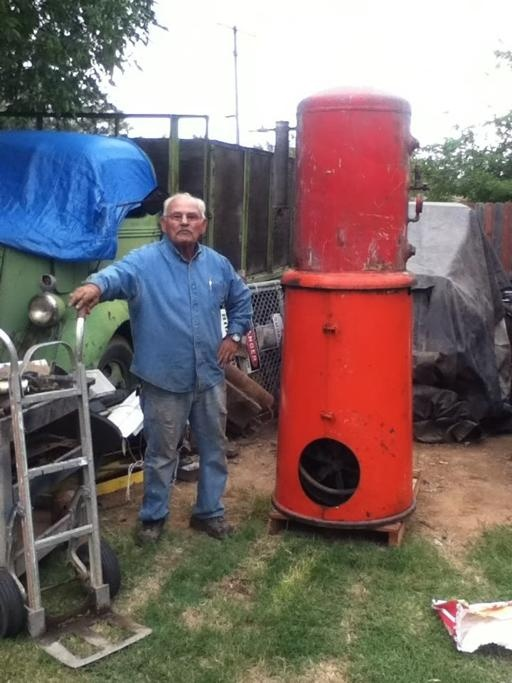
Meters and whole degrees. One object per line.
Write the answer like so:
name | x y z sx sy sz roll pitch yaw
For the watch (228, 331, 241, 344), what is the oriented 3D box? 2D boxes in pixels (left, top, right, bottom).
watch | -0.119 -0.020 3.344 0.047 0.035 0.057 11 3 -16

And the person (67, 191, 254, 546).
person | -0.475 0.286 3.124 0.468 1.703 1.140 2 2 28

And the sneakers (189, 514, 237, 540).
sneakers | -0.247 1.068 3.459 0.253 0.130 0.098 1 4 41
